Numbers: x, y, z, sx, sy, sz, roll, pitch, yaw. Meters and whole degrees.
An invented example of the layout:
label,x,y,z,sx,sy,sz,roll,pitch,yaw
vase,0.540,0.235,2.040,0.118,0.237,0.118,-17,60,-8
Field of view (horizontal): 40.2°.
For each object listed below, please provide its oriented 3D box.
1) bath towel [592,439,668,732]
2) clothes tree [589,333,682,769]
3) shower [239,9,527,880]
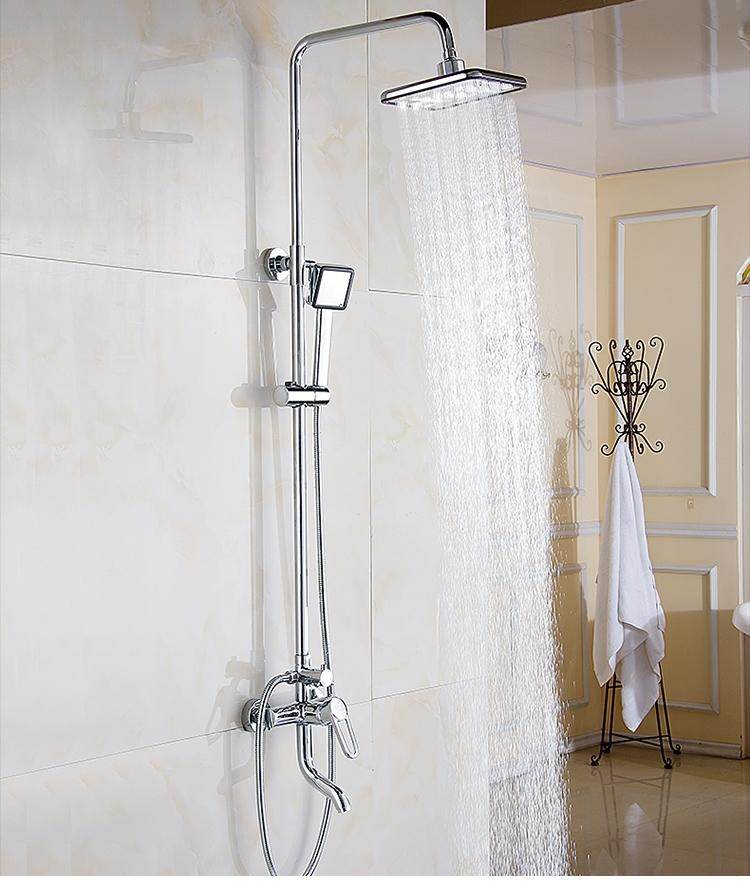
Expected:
label,x,y,z,sx,sy,sz,roll,pitch,yaw
bath towel,0.931,0.542,3.825,0.254,1.078,0.258,-2,-2,5
clothes tree,1.010,0.345,3.978,0.446,1.855,0.334,-1,-1,19
shower,0.050,0.051,1.582,0.373,1.388,0.442,0,-1,12
